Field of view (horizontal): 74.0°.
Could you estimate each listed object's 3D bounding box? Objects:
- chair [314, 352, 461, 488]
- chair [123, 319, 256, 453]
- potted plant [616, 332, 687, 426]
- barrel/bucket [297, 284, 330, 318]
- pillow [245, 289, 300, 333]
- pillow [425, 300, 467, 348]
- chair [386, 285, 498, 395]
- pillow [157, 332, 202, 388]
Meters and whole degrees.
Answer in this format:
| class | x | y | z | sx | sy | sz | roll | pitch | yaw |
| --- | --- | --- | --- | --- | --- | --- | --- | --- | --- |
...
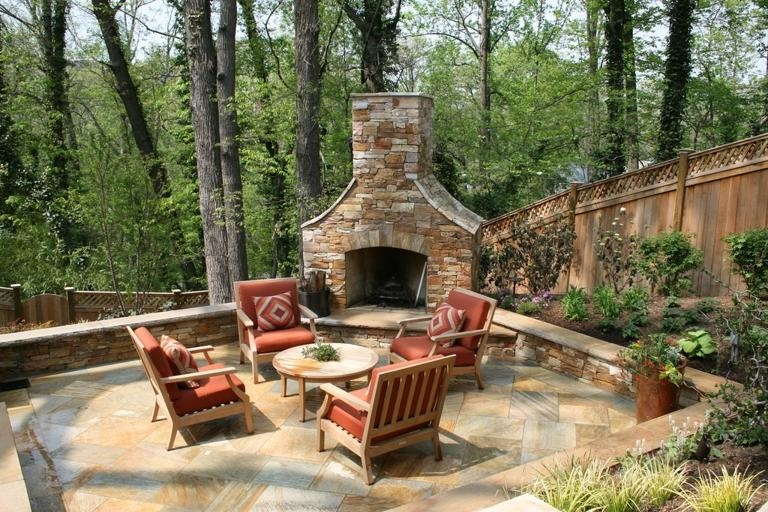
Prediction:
| class | x | y | z | sx | sy | sz | roll | pitch | yaw |
| --- | --- | --- | --- | --- | --- | --- | --- | --- | --- |
| chair | -0.004 | 2.102 | 7.144 | 1.318 | 1.346 | 1.631 | -3 | 1 | -38 |
| chair | -2.957 | 1.828 | 7.890 | 1.543 | 1.307 | 1.799 | -2 | 4 | -32 |
| potted plant | 3.953 | 1.758 | 7.452 | 0.750 | 1.292 | 0.580 | 1 | 8 | 31 |
| barrel/bucket | -1.427 | 0.915 | 10.387 | 0.635 | 0.432 | 0.557 | -1 | 5 | -11 |
| pillow | -2.043 | 1.003 | 9.246 | 0.768 | 0.638 | 0.273 | -7 | -15 | -25 |
| pillow | 1.033 | 1.163 | 8.826 | 0.472 | 0.649 | 0.832 | -4 | 11 | -24 |
| chair | 1.012 | 1.443 | 8.838 | 1.572 | 1.403 | 1.247 | -8 | 11 | -24 |
| pillow | -3.031 | 1.498 | 7.459 | 0.480 | 0.604 | 0.862 | -2 | 11 | -37 |
